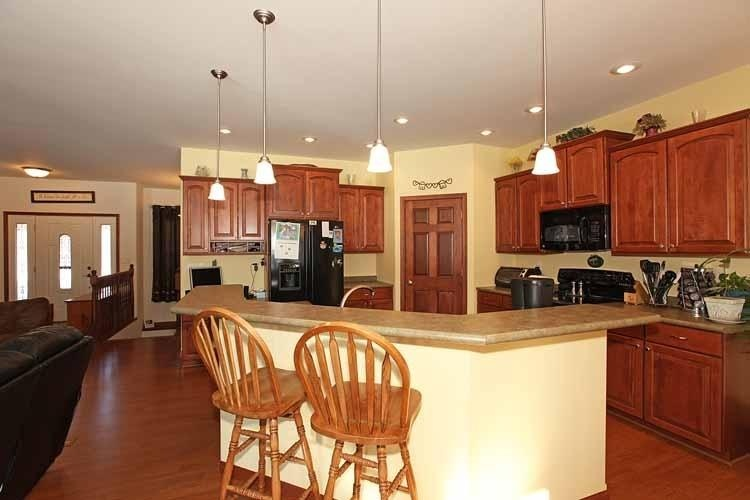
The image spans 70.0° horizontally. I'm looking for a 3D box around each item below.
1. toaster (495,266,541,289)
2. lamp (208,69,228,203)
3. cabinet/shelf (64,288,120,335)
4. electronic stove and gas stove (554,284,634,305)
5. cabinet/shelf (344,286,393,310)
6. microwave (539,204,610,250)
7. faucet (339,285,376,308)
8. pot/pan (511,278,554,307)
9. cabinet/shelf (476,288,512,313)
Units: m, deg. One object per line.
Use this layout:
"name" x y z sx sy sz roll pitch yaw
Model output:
"toaster" 1.841 0.321 6.901 0.404 0.302 0.524 5 -6 -30
"lamp" -1.601 -1.167 5.510 0.230 1.280 0.213 1 9 -19
"cabinet/shelf" -4.111 0.914 7.865 0.316 0.459 0.841 -2 2 -12
"electronic stove and gas stove" 2.265 0.475 5.764 0.318 0.204 0.950 -2 0 -30
"cabinet/shelf" -0.091 0.622 6.929 0.476 0.388 0.253 0 3 -20
"microwave" 2.247 -0.240 6.020 0.473 0.478 0.757 2 -2 -27
"faucet" -0.220 0.596 6.790 0.436 0.356 0.273 0 3 -23
"pot/pan" 1.398 0.380 4.793 0.220 0.282 0.336 -2 1 -41
"cabinet/shelf" 1.475 0.616 6.606 0.192 0.366 0.467 1 0 -16
